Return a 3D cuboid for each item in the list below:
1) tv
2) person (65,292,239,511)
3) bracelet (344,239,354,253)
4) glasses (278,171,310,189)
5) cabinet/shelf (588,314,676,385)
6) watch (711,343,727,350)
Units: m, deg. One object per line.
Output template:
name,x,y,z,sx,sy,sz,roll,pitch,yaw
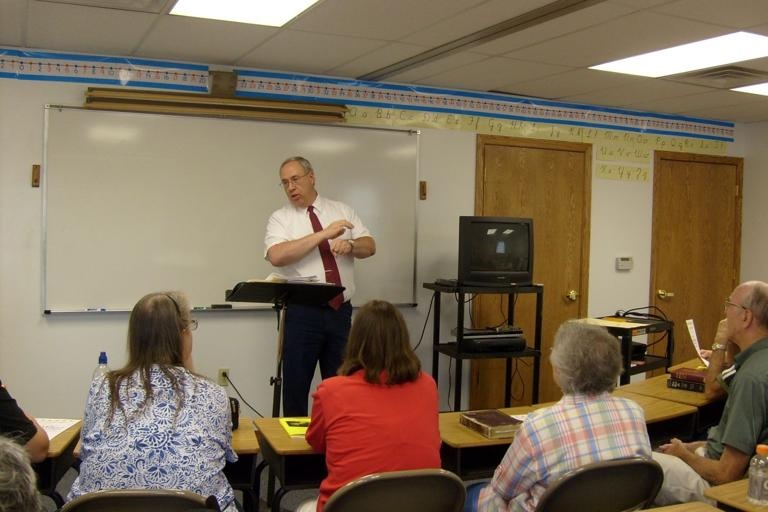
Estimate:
tv,0.885,-0.044,5.159,0.888,0.725,0.509,0,-3,-17
person,-0.965,0.597,2.549,0.619,0.818,0.318,-1,6,-12
bracelet,-0.224,-0.073,4.053,0.056,0.089,0.079,7,42,13
glasses,-0.623,-0.538,4.159,0.128,0.132,0.159,-5,30,13
cabinet/shelf,2.064,0.781,4.633,0.446,0.414,0.340,0,-26,46
watch,2.123,0.577,3.774,0.064,0.042,0.066,6,-5,-9
